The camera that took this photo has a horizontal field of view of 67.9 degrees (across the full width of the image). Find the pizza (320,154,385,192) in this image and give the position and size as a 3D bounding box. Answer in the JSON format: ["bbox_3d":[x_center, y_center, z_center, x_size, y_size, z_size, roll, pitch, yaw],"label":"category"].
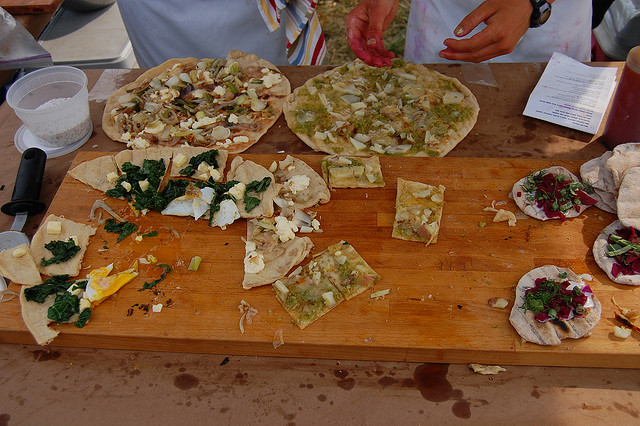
[{"bbox_3d":[0.287,-0.384,4.295,0.486,0.128,0.328,-1,58,-1],"label":"pizza"}]

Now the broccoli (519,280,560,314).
[{"bbox_3d":[1.706,0.661,3.703,0.324,0.074,0.188,-33,65,-7],"label":"broccoli"}]

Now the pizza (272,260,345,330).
[{"bbox_3d":[-0.107,0.645,3.780,0.434,0.106,0.465,-33,71,-7],"label":"pizza"}]

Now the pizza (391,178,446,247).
[{"bbox_3d":[0.825,-0.103,4.243,0.579,0.187,0.704,-6,44,15],"label":"pizza"}]

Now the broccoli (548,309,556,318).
[{"bbox_3d":[1.762,0.758,3.611,0.052,0.015,0.058,2,71,5],"label":"broccoli"}]

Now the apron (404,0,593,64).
[{"bbox_3d":[2.142,-2.187,5.706,2.196,0.949,0.755,0,72,5],"label":"apron"}]

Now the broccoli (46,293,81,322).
[{"bbox_3d":[-2.012,0.737,3.744,0.218,0.052,0.200,-27,63,-25],"label":"broccoli"}]

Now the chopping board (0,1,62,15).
[{"bbox_3d":[-3.546,-2.515,5.798,0.344,0.076,0.337,-4,39,-4],"label":"chopping board"}]

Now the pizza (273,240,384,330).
[{"bbox_3d":[0.034,0.558,3.817,0.751,0.139,0.451,-33,72,-7],"label":"pizza"}]

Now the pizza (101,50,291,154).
[{"bbox_3d":[-1.268,-1.138,4.987,1.924,0.576,1.440,-11,70,1],"label":"pizza"}]

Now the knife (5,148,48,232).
[{"bbox_3d":[-2.572,-0.247,4.328,0.257,0.235,0.836,2,58,-3],"label":"knife"}]

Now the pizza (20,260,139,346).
[{"bbox_3d":[-1.929,0.775,3.963,0.800,0.156,0.495,-26,62,-13],"label":"pizza"}]

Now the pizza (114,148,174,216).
[{"bbox_3d":[-1.662,-0.342,4.424,0.493,0.777,0.089,2,43,-23],"label":"pizza"}]

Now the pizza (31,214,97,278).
[{"bbox_3d":[-2.206,0.377,3.997,0.583,0.139,0.532,25,87,28],"label":"pizza"}]

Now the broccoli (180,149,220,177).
[{"bbox_3d":[-1.107,-0.460,4.399,0.280,0.088,0.267,-34,25,7],"label":"broccoli"}]

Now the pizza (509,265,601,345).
[{"bbox_3d":[1.773,0.713,3.662,0.687,0.114,0.577,-29,71,-6],"label":"pizza"}]

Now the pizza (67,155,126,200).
[{"bbox_3d":[-2.020,-0.347,4.411,0.600,0.066,0.391,40,73,23],"label":"pizza"}]
